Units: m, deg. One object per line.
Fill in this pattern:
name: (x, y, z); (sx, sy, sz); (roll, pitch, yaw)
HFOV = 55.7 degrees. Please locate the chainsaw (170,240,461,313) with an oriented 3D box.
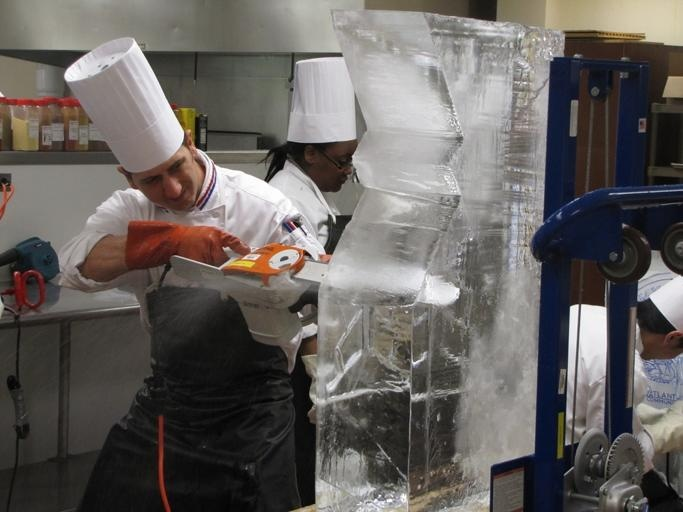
chainsaw: (-0.056, 0.042, 1.091); (0.499, 0.102, 0.114); (0, 11, 12)

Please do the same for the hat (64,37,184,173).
hat: (-0.539, -0.371, 1.600); (0.224, 0.363, 0.170); (19, 24, 38)

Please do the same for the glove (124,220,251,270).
glove: (-0.334, -0.037, 1.320); (0.214, 0.117, 0.202); (-2, 14, -23)

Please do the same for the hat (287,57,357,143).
hat: (-0.094, -0.618, 2.565); (0.277, 0.335, 0.193); (-3, 11, -3)
